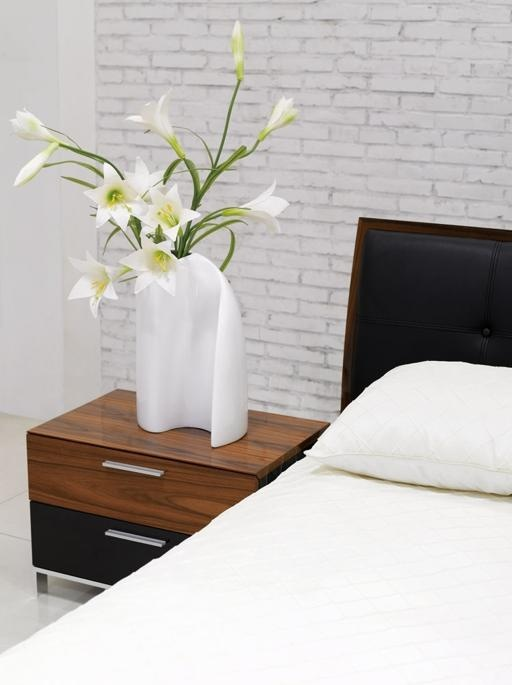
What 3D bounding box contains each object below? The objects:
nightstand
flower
[{"bbox_3d":[-0.152,0.473,1.766,0.756,0.437,0.448,-1,1,37],"label":"nightstand"},{"bbox_3d":[-0.293,-0.595,2.153,0.824,0.822,0.921,15,46,10],"label":"flower"}]
